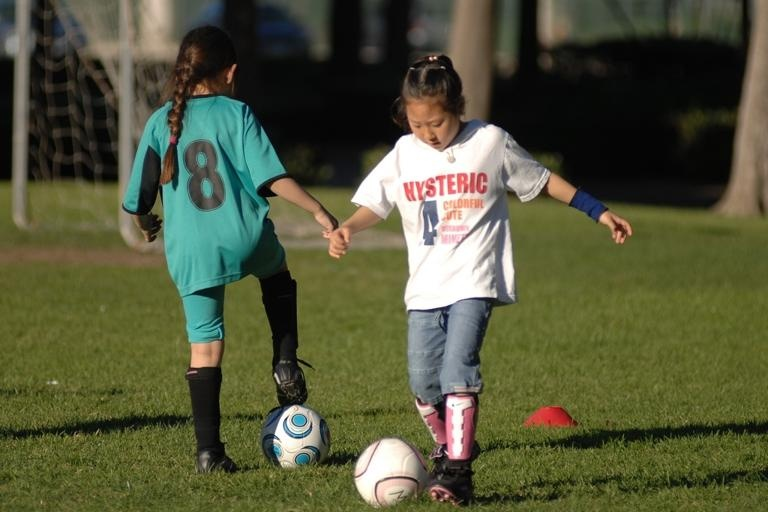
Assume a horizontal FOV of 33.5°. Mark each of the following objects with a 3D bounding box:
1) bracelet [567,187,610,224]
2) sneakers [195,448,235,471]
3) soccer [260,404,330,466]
[{"bbox_3d":[1.893,-0.466,11.899,0.340,0.255,0.126,31,-9,6],"label":"bracelet"},{"bbox_3d":[-1.568,1.901,11.972,0.315,0.145,0.181,0,2,-1],"label":"sneakers"},{"bbox_3d":[-0.884,1.711,12.175,0.620,0.562,0.563,-1,49,-27],"label":"soccer"}]
